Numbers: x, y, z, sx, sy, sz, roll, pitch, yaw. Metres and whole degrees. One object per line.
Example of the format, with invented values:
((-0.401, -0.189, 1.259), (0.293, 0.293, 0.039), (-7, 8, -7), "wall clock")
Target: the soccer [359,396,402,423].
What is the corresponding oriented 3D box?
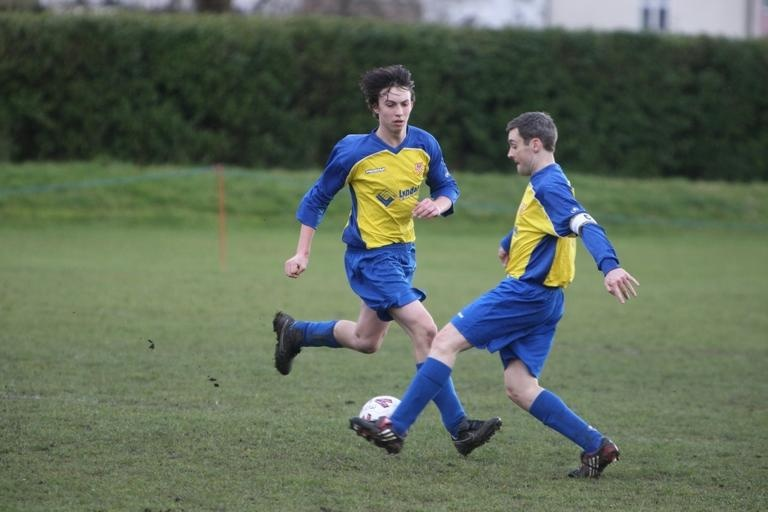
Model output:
((-0.052, 1.747, 13.258), (0.341, 0.201, 0.268), (-9, -9, -10), "soccer")
